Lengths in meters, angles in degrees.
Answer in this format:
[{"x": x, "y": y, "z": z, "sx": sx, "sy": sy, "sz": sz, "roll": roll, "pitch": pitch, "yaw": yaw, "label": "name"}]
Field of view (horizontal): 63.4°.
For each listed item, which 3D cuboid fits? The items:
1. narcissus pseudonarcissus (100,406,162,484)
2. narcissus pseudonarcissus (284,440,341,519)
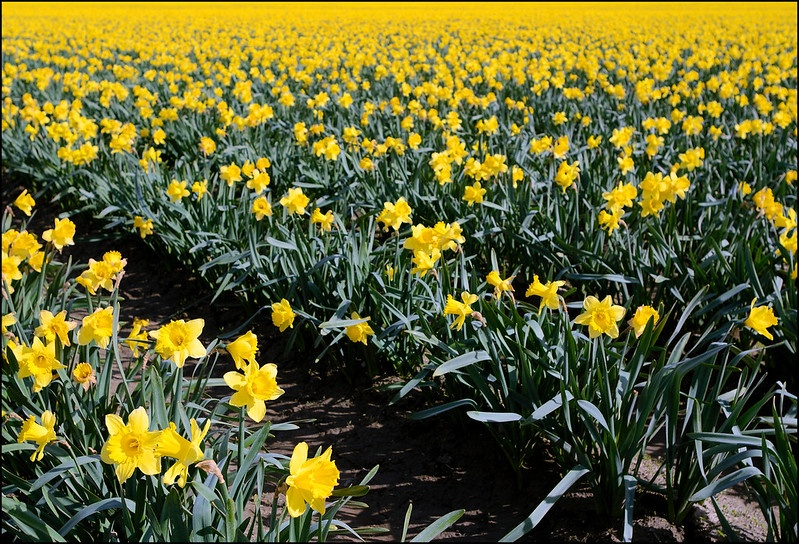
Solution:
[{"x": -0.959, "y": 0.611, "z": 2.267, "sx": 0.253, "sy": 0.283, "sz": 0.117, "roll": 6, "pitch": 16, "yaw": 22, "label": "narcissus pseudonarcissus"}, {"x": -0.310, "y": 0.721, "z": 2.264, "sx": 0.180, "sy": 0.273, "sz": 0.083, "roll": -2, "pitch": 15, "yaw": -6, "label": "narcissus pseudonarcissus"}]
